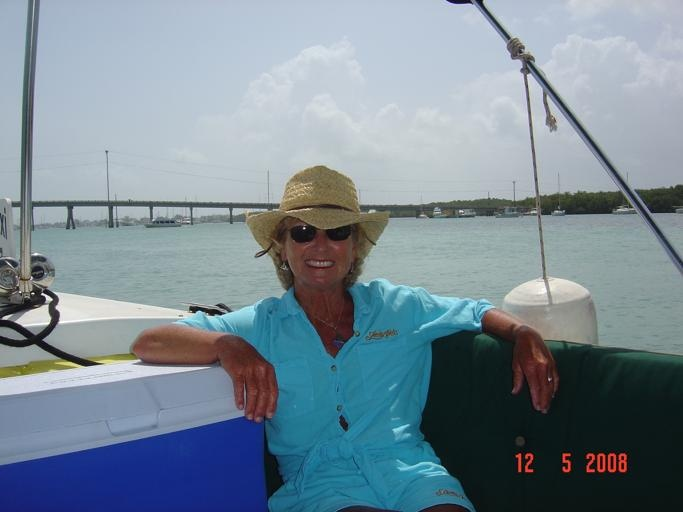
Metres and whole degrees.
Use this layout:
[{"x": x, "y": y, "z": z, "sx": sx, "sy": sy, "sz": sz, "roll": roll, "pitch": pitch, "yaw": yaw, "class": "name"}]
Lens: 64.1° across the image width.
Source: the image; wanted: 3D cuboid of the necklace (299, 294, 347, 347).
[{"x": -0.063, "y": 0.294, "z": 2.372, "sx": 0.082, "sy": 0.182, "sz": 0.178, "roll": -34, "pitch": -8, "yaw": 40, "class": "necklace"}]

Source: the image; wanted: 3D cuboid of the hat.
[{"x": -0.113, "y": -0.100, "z": 2.547, "sx": 0.443, "sy": 0.263, "sz": 0.514, "roll": 1, "pitch": -21, "yaw": -2, "class": "hat"}]
